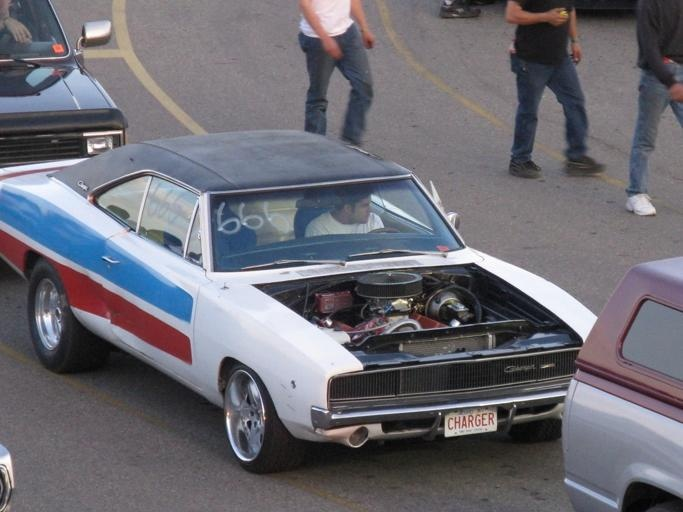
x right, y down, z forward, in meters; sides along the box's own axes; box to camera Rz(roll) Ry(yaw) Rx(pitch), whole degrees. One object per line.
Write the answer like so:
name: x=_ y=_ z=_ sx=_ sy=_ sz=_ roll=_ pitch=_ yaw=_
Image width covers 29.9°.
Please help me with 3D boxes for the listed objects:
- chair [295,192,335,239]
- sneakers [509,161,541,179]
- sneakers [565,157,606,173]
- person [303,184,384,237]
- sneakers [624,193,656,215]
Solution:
chair: x=-0.183 y=-0.345 z=10.146 sx=0.362 sy=0.360 sz=0.326 roll=-2 pitch=14 yaw=0
sneakers: x=2.138 y=-1.009 z=14.833 sx=0.348 sy=0.174 sz=0.165 roll=7 pitch=13 yaw=32
sneakers: x=2.836 y=-1.054 z=14.849 sx=0.434 sy=0.188 sz=0.193 roll=1 pitch=8 yaw=27
person: x=0.039 y=-0.266 z=10.273 sx=0.756 sy=0.573 sz=0.409 roll=-6 pitch=10 yaw=-38
sneakers: x=3.194 y=-0.557 z=13.655 sx=0.154 sy=0.158 sz=0.338 roll=-6 pitch=12 yaw=-27
